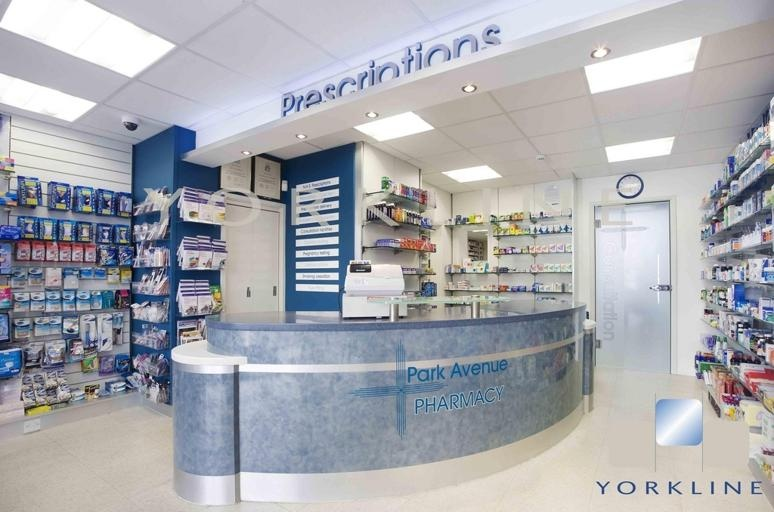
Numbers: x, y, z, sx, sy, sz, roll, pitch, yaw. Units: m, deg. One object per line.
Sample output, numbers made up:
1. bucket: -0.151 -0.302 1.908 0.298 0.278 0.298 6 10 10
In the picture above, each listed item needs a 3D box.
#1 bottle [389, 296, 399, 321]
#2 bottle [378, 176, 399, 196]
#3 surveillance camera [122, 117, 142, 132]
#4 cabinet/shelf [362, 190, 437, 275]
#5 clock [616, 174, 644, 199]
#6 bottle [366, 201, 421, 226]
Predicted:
1. bottle: 0.073 0.538 5.003 0.093 0.227 0.220 -1 13 1
2. bottle: 0.013 -0.995 7.238 0.175 0.300 0.336 -6 -5 35
3. surveillance camera: -3.321 -1.707 6.595 0.149 0.105 0.146 -1 -3 -3
4. cabinet/shelf: 0.150 -0.363 7.338 0.383 1.191 1.324 -3 -5 30
5. clock: 4.017 -1.138 8.294 0.042 0.379 0.372 8 6 -44
6. bottle: 0.138 -0.599 7.433 0.256 0.401 0.958 11 18 41
